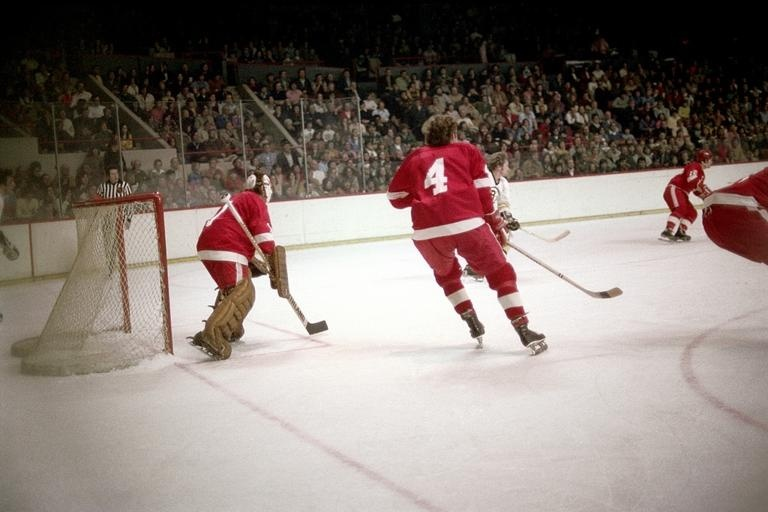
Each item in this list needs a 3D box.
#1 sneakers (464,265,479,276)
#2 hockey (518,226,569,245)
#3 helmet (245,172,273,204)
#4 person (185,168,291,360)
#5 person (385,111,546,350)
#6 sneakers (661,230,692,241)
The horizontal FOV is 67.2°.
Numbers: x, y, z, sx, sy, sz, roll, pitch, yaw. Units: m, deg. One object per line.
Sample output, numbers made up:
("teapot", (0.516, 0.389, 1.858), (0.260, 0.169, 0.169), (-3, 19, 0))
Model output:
("sneakers", (1.040, 0.169, 6.874), (0.228, 0.106, 0.135), (7, -12, 16))
("hockey", (3.224, -0.423, 11.692), (0.450, 0.148, 1.954), (19, 8, 36))
("helmet", (-1.243, -0.702, 5.817), (0.314, 0.296, 0.226), (8, -3, -19))
("person", (-1.386, 0.053, 5.479), (0.895, 1.641, 1.087), (-6, 13, -10))
("person", (0.709, -0.216, 5.117), (1.193, 2.074, 0.933), (-7, -1, 18))
("sneakers", (5.093, -0.360, 10.098), (0.564, 0.241, 0.202), (0, 1, -6))
